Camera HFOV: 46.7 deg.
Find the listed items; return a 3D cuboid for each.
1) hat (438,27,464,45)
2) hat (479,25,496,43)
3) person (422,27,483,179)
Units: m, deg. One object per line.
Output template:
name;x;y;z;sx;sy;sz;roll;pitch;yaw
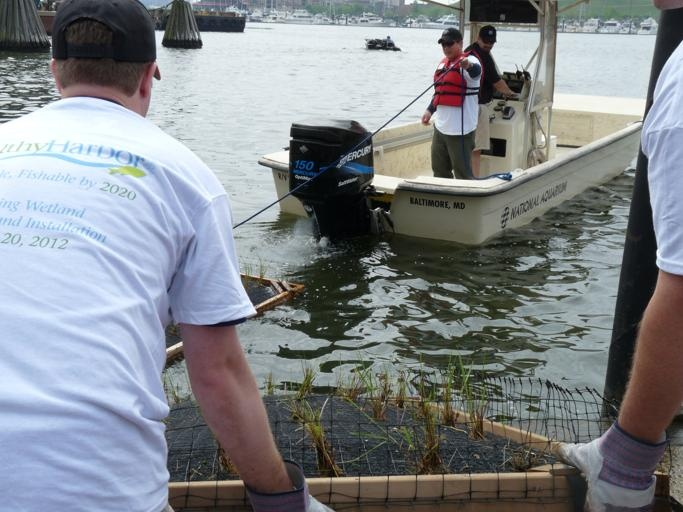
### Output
hat;1.041;-2.132;7.597;0.156;0.111;0.233;9;15;41
hat;1.447;-2.225;7.850;0.150;0.119;0.194;-2;41;-5
person;1.119;-1.471;7.799;0.436;1.533;0.654;-11;22;-25
